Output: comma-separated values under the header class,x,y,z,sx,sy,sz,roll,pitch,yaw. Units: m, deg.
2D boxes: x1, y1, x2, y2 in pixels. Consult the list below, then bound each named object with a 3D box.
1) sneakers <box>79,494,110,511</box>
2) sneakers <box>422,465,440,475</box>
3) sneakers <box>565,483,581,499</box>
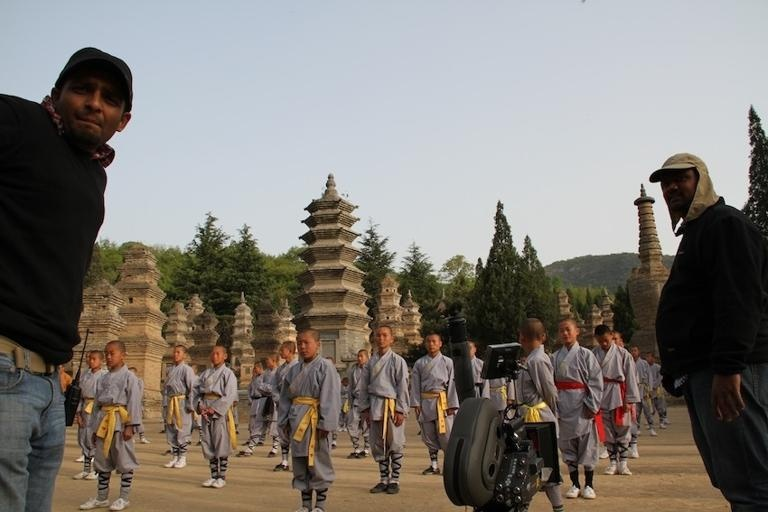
class,x,y,z,sx,sy,sz,roll,pitch,yaw
sneakers,-4.211,3.598,11.411,0.455,0.173,0.167,2,-14,0
sneakers,0.834,3.832,14.004,0.126,0.137,0.367,-17,-26,33
sneakers,2.765,3.442,11.466,0.167,0.159,0.399,-6,-15,9
